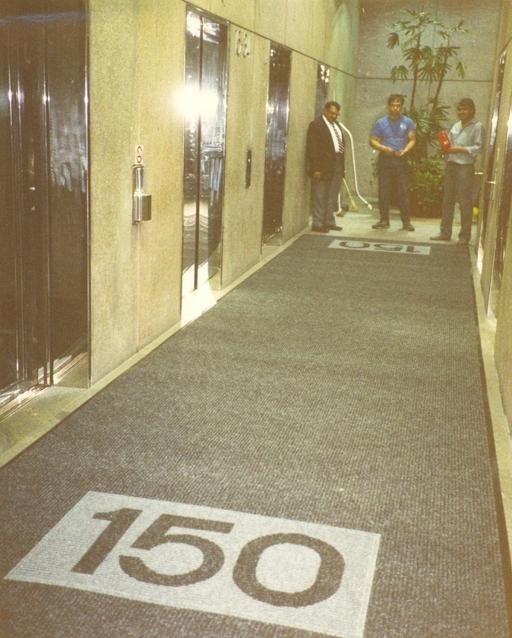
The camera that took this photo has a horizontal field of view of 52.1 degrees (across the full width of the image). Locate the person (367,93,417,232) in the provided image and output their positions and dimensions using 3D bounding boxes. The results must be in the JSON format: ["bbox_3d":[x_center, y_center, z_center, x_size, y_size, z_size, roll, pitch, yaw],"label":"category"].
[{"bbox_3d":[2.113,-2.434,8.188,0.781,2.104,0.516,-1,8,-20],"label":"person"}]

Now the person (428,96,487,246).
[{"bbox_3d":[2.844,-2.072,7.463,0.551,1.971,0.692,4,8,18],"label":"person"}]

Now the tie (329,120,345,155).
[{"bbox_3d":[1.190,-2.711,7.800,0.122,0.488,0.266,-12,7,16],"label":"tie"}]

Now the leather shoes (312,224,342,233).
[{"bbox_3d":[1.072,-1.433,8.239,0.500,0.224,0.173,-2,12,-1],"label":"leather shoes"}]

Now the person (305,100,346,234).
[{"bbox_3d":[1.025,-2.277,7.946,0.557,1.912,0.672,3,8,9],"label":"person"}]
